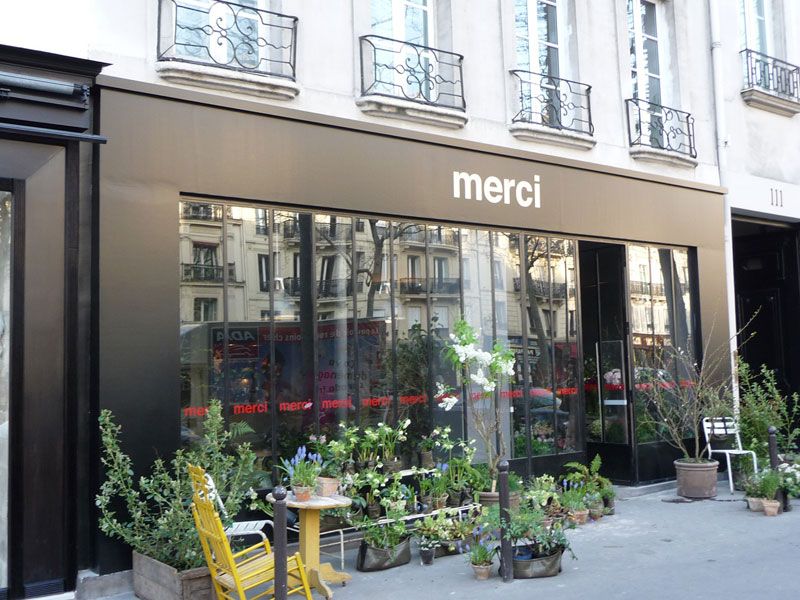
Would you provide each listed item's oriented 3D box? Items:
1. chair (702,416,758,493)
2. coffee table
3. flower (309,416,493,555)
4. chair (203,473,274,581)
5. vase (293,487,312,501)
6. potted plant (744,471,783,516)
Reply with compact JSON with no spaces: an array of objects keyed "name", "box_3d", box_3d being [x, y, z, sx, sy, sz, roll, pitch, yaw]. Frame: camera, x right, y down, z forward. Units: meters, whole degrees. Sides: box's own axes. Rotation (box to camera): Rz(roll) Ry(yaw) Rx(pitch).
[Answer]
[{"name":"chair","box_3d":[5.261,2.444,12.672,0.699,1.156,1.395,-2,-7,4]},{"name":"coffee table","box_3d":[-0.813,2.515,8.494,0.957,1.132,0.965,-1,1,-35]},{"name":"flower","box_3d":[-0.088,2.187,9.459,1.690,0.726,1.444,3,-5,-40]},{"name":"chair","box_3d":[-1.730,2.139,7.999,0.800,1.385,0.745,-3,0,-13]},{"name":"vase","box_3d":[-1.027,1.983,8.132,0.143,0.122,0.154,0,-3,0]},{"name":"potted plant","box_3d":[5.017,2.640,10.858,0.467,0.534,0.514,4,-9,-42]}]
